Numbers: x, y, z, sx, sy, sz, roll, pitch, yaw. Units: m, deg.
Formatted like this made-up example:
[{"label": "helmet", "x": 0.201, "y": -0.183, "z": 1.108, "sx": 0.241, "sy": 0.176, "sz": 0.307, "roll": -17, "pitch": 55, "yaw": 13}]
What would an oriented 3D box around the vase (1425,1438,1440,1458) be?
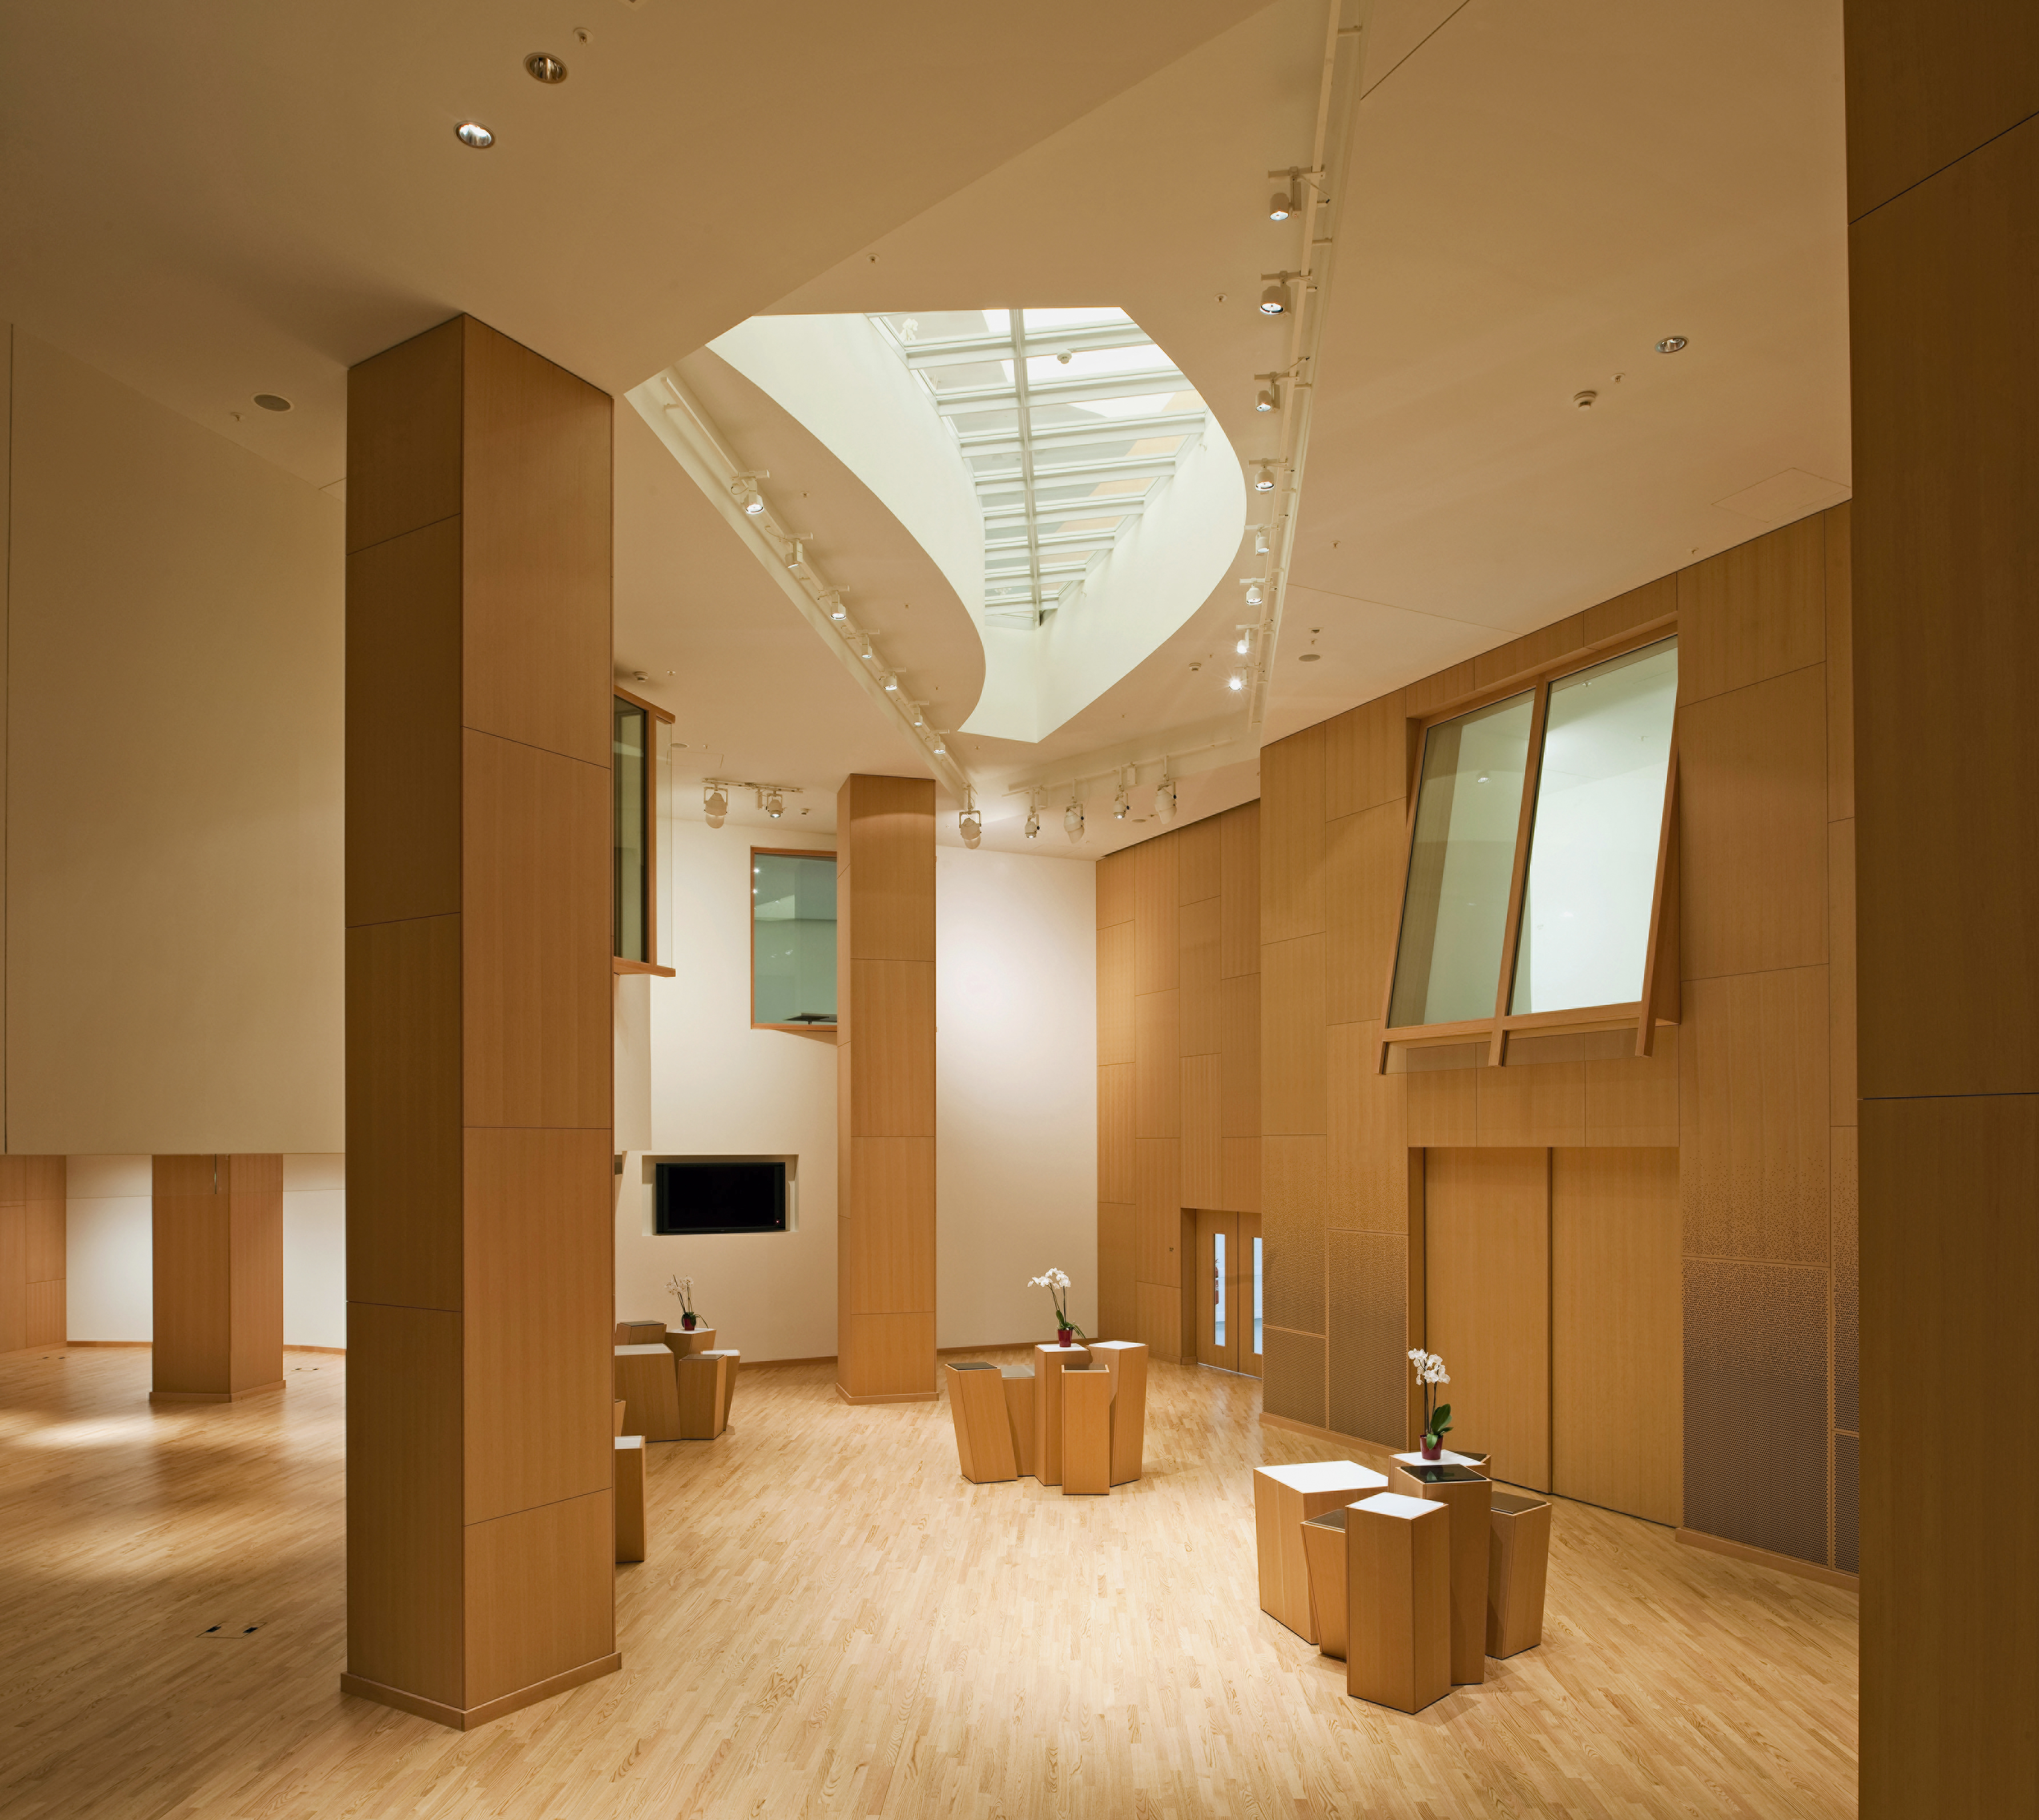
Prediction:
[{"label": "vase", "x": 1.845, "y": 2.382, "z": 7.508, "sx": 0.068, "sy": 0.076, "sz": 0.069, "roll": -1, "pitch": 2, "yaw": -39}]
